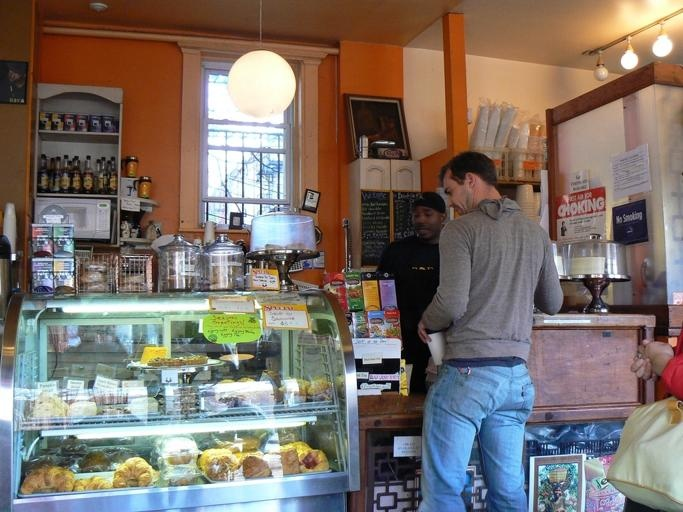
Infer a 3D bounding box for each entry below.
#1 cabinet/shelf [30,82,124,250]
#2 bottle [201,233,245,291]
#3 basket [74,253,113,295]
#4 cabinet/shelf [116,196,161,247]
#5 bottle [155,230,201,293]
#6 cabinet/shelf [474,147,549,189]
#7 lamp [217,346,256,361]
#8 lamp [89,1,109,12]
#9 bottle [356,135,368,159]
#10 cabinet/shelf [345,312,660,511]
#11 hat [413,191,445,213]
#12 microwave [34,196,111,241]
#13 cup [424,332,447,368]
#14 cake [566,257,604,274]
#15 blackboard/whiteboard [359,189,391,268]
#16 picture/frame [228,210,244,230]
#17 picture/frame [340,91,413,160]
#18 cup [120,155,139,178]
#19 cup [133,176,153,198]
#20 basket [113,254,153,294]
[{"bbox_3d":[-2.441,-0.774,5.593,0.745,1.414,0.446,2,-3,-22],"label":"cabinet/shelf"},{"bbox_3d":[-0.639,0.034,3.094,0.261,0.285,0.259,-1,-7,32],"label":"bottle"},{"bbox_3d":[-1.502,0.116,3.659,0.316,0.299,0.082,1,-3,-7],"label":"basket"},{"bbox_3d":[-1.976,-0.312,5.749,0.251,0.393,0.442,-2,-3,34],"label":"cabinet/shelf"},{"bbox_3d":[-0.819,0.035,3.050,0.211,0.284,0.192,0,-2,0],"label":"bottle"},{"bbox_3d":[1.750,-0.876,6.053,0.530,0.315,0.754,-1,3,0],"label":"cabinet/shelf"},{"bbox_3d":[-0.464,0.435,2.679,0.093,0.037,0.090,1,2,-25],"label":"lamp"},{"bbox_3d":[-2.297,-2.333,5.725,0.175,0.046,0.169,-3,1,-10],"label":"lamp"},{"bbox_3d":[0.222,-1.100,6.180,0.118,0.214,0.156,-3,0,2],"label":"bottle"},{"bbox_3d":[0.706,0.742,2.811,1.177,1.050,0.447,0,2,-16],"label":"cabinet/shelf"},{"bbox_3d":[0.587,-0.341,3.936,0.148,0.092,0.149,8,-3,30],"label":"hat"},{"bbox_3d":[-2.094,-0.283,4.691,0.403,0.247,0.217,1,-3,-16],"label":"microwave"},{"bbox_3d":[0.458,0.444,2.835,0.112,0.173,0.112,-1,6,0],"label":"cup"},{"bbox_3d":[1.421,0.061,3.500,0.123,0.073,0.119,1,-5,-8],"label":"cake"},{"bbox_3d":[0.345,-0.263,6.159,0.352,0.783,0.023,0,0,-22],"label":"blackboard/whiteboard"},{"bbox_3d":[-1.104,-0.358,6.341,0.170,0.158,0.157,-2,5,-14],"label":"picture/frame"},{"bbox_3d":[0.333,-1.339,6.393,0.840,0.882,0.064,3,-26,-23],"label":"picture/frame"},{"bbox_3d":[-2.026,-0.840,5.785,0.231,0.220,0.150,-1,5,-19],"label":"cup"},{"bbox_3d":[-1.896,-0.644,5.796,0.213,0.211,0.136,0,1,-12],"label":"cup"},{"bbox_3d":[-1.706,0.152,4.916,0.305,0.277,0.306,-4,-8,41],"label":"basket"}]
